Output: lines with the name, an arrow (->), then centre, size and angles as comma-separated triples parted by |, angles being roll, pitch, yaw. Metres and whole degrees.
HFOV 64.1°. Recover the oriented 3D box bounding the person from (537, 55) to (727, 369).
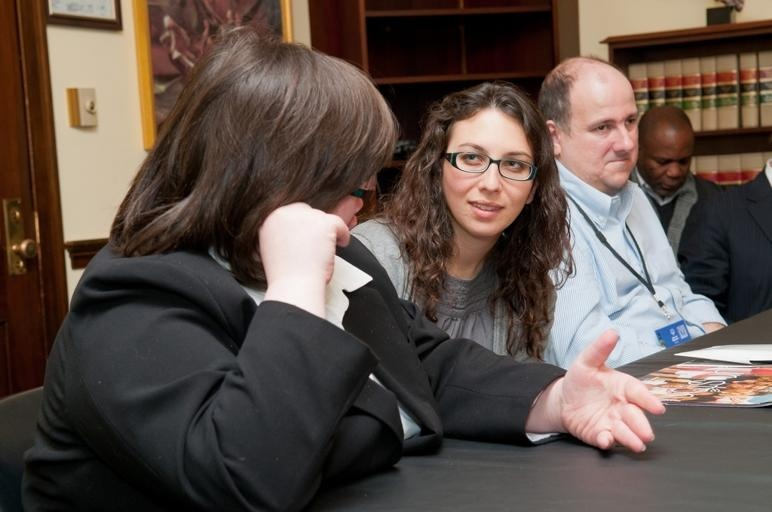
person -> 0.986, -0.152, 2.502 | 0.797, 1.278, 0.892 | -1, 15, 17
